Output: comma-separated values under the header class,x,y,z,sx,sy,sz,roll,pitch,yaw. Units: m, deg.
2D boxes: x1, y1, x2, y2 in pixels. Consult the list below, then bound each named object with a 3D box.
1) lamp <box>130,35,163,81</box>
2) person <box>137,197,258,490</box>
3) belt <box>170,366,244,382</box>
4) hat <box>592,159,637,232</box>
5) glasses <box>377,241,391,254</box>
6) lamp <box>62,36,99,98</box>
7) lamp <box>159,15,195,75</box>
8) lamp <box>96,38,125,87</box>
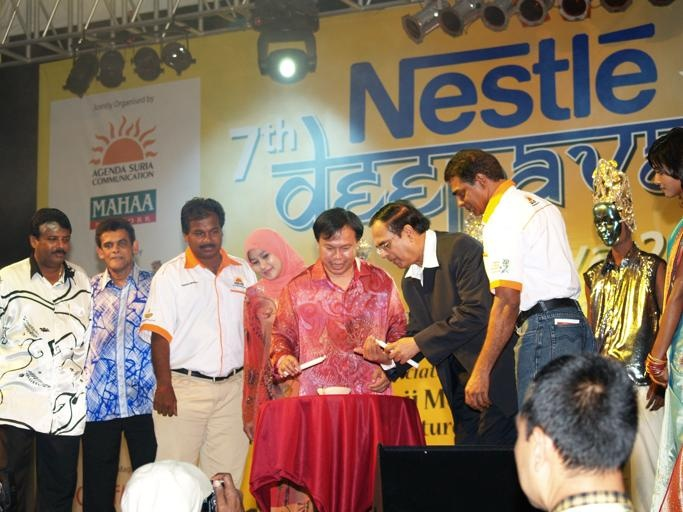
class,x,y,z,sx,sy,sz,roll,pitch,yaw
lamp,-1.984,-1.987,7.231,0.311,0.370,0.269,0,-3,-14
person,-1.131,0.639,5.580,0.822,2.205,0.625,0,-3,-9
belt,-1.024,0.908,5.449,0.538,0.105,0.124,0,-3,-19
hat,2.174,-0.475,5.697,0.278,0.698,0.251,-15,-28,35
glasses,0.289,-0.062,4.691,0.078,0.026,0.077,-7,-12,-37
lamp,-2.687,-1.947,7.304,0.426,0.534,0.343,-3,-3,34
lamp,-1.690,-2.107,7.123,0.346,0.624,0.237,-10,16,-13
lamp,-2.378,-1.961,7.317,0.270,0.404,0.334,0,-3,-20
